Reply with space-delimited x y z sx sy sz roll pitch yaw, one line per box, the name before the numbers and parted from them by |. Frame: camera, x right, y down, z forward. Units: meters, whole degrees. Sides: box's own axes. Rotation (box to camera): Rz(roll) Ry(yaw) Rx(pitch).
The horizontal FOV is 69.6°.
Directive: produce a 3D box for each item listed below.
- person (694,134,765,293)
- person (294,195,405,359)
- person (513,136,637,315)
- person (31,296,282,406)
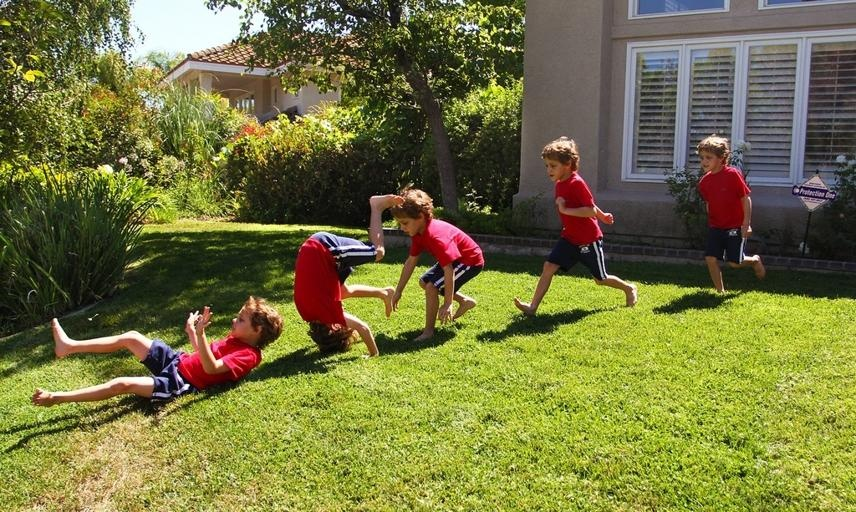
person | 3.533 -0.484 7.411 0.589 1.851 0.310 3 8 20
person | -0.714 0.338 6.511 1.091 1.595 0.718 -6 -29 -44
person | 1.693 -0.339 7.014 1.273 1.994 0.757 2 8 18
person | -2.513 0.906 5.835 2.051 0.949 0.920 2 -1 -17
